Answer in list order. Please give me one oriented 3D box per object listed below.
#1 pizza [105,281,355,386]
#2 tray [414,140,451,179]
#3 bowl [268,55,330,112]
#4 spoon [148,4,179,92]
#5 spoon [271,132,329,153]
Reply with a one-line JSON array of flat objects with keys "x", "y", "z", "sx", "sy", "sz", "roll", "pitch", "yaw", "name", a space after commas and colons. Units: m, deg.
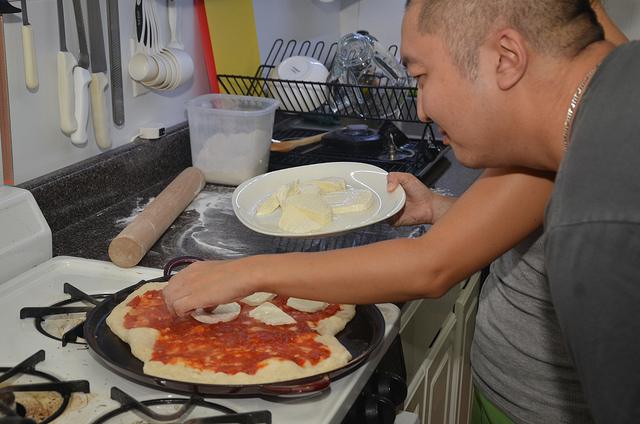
[{"x": -0.186, "y": 0.268, "z": 0.993, "sx": 0.289, "sy": 0.037, "sz": 0.265, "roll": -1, "pitch": 13, "yaw": -8, "name": "pizza"}, {"x": 0.420, "y": -0.192, "z": 1.753, "sx": 0.040, "sy": 0.018, "sz": 0.213, "roll": 24, "pitch": 48, "yaw": 22, "name": "tray"}, {"x": -0.083, "y": -0.500, "z": 1.937, "sx": 0.247, "sy": 0.218, "sz": 0.319, "roll": -1, "pitch": 30, "yaw": -5, "name": "bowl"}, {"x": -0.548, "y": -0.590, "z": 1.683, "sx": 0.059, "sy": 0.271, "sz": 0.039, "roll": -2, "pitch": 14, "yaw": 26, "name": "spoon"}, {"x": -0.065, "y": -0.307, "z": 1.933, "sx": 0.069, "sy": 0.055, "sz": 0.347, "roll": 17, "pitch": 22, "yaw": 33, "name": "spoon"}]
